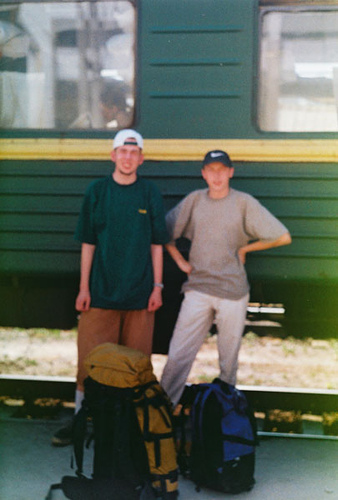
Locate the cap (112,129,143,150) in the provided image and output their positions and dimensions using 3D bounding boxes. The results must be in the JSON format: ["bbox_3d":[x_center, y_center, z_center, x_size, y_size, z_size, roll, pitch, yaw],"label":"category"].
[{"bbox_3d":[-0.214,-0.561,3.488,0.147,0.102,0.088,-1,9,-7],"label":"cap"}]

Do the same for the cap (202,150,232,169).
[{"bbox_3d":[0.254,-0.476,3.595,0.146,0.093,0.115,1,9,3],"label":"cap"}]

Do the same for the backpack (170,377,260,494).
[{"bbox_3d":[0.309,0.936,3.455,0.570,0.569,0.461,-3,-6,8],"label":"backpack"}]
